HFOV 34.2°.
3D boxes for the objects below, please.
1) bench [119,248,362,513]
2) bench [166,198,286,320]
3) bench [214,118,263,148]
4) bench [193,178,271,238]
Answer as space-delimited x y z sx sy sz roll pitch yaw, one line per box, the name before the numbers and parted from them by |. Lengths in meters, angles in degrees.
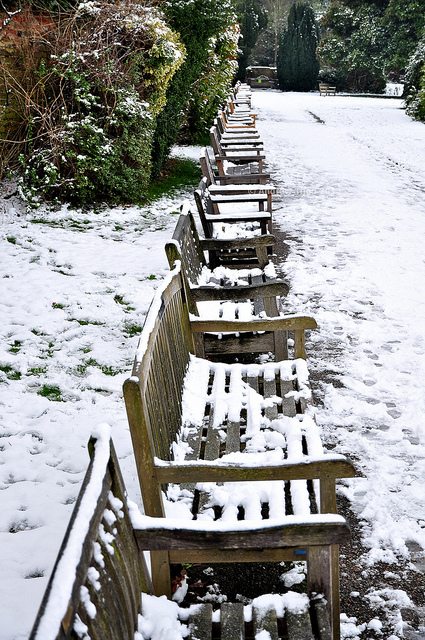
bench | 0.127 0.253 2.900 0.520 0.508 1.171 -3 20 2
bench | 0.090 -0.347 3.969 0.432 0.538 0.996 -5 27 4
bench | 0.320 -2.172 8.360 0.674 0.381 0.421 -3 33 -2
bench | 0.153 -0.838 5.210 0.328 0.412 0.866 -4 24 6
